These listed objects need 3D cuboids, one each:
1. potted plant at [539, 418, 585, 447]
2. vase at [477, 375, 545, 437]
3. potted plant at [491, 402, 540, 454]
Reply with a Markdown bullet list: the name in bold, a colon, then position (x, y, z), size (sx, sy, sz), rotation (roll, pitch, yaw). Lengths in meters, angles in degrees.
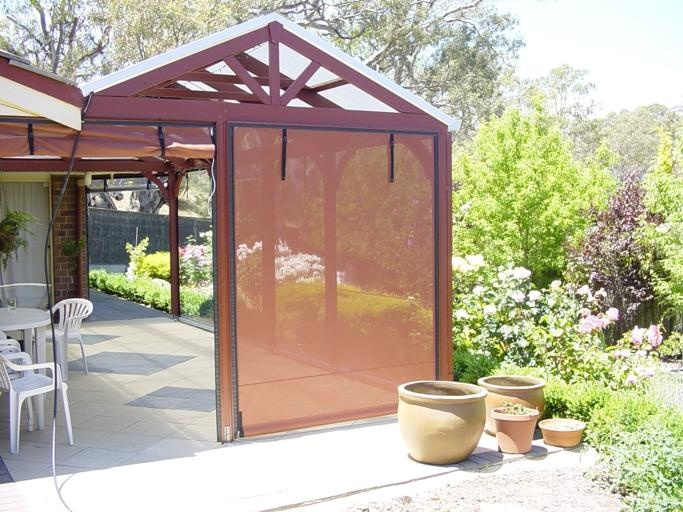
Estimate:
- **potted plant**: position (2.404, 1.918, 6.654), size (0.483, 0.233, 0.373), rotation (2, 5, 18)
- **vase**: position (1.848, 1.529, 6.785), size (0.640, 0.518, 0.658), rotation (-3, 6, -31)
- **potted plant**: position (1.803, 1.785, 6.460), size (0.452, 0.389, 0.478), rotation (1, -2, -18)
